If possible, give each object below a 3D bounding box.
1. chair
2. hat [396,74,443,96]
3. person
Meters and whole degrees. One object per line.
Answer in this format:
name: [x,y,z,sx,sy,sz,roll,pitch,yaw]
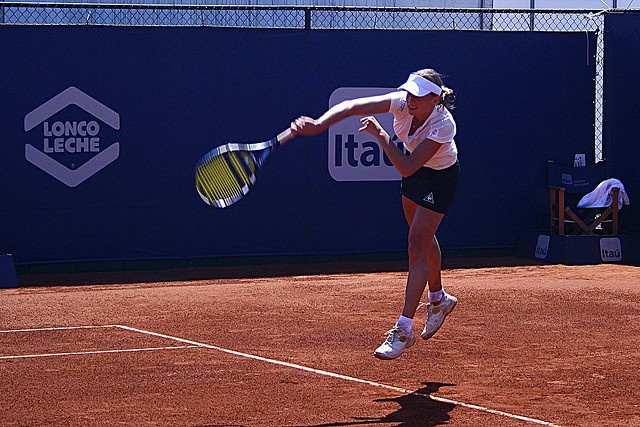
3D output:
chair: [4.060,-0.205,10.734,1.057,1.441,1.010,-2,-7,5]
hat: [0.868,-1.059,6.182,0.301,0.108,0.202,19,0,-42]
person: [0.712,0.035,6.516,1.039,2.642,1.033,3,10,17]
